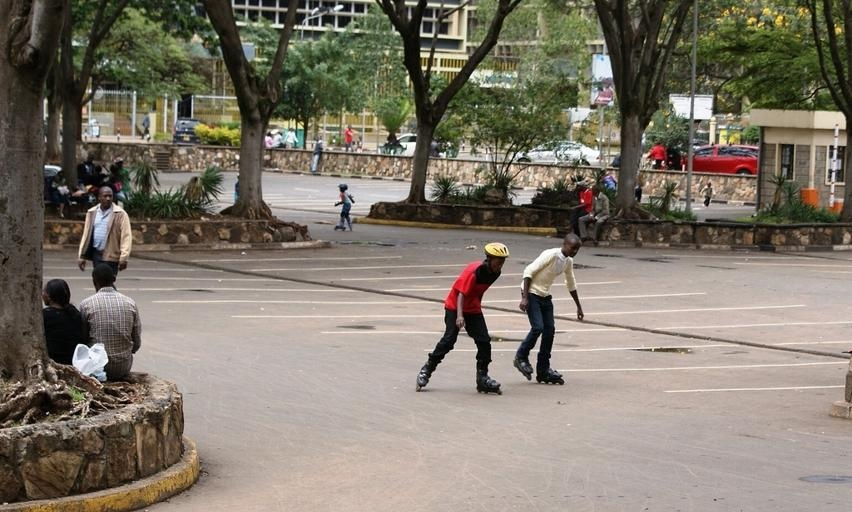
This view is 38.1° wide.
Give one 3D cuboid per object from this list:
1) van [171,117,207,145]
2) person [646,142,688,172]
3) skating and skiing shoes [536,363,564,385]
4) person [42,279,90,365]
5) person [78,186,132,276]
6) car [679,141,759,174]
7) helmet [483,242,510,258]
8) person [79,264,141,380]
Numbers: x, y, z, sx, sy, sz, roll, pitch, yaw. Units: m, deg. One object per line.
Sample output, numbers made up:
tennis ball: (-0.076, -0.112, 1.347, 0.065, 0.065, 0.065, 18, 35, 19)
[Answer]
van: (-14.290, -7.530, 74.755, 2.006, 1.452, 3.200, -1, 1, -13)
person: (11.975, -4.866, 60.373, 1.421, 0.826, 1.713, 7, 6, 40)
skating and skiing shoes: (2.164, 2.050, 20.650, 0.631, 0.270, 0.201, 0, 10, 11)
person: (-5.148, 0.969, 17.620, 0.656, 1.129, 0.765, 4, 14, -8)
person: (-5.878, -0.389, 22.686, 0.893, 1.735, 1.298, 2, 14, -14)
car: (14.320, -4.566, 58.430, 3.527, 1.002, 1.703, 7, 8, 32)
helmet: (1.062, -0.082, 19.944, 0.387, 0.157, 0.489, 3, 1, -23)
person: (-4.587, 1.165, 17.956, 0.815, 1.226, 0.706, 7, 14, 7)
